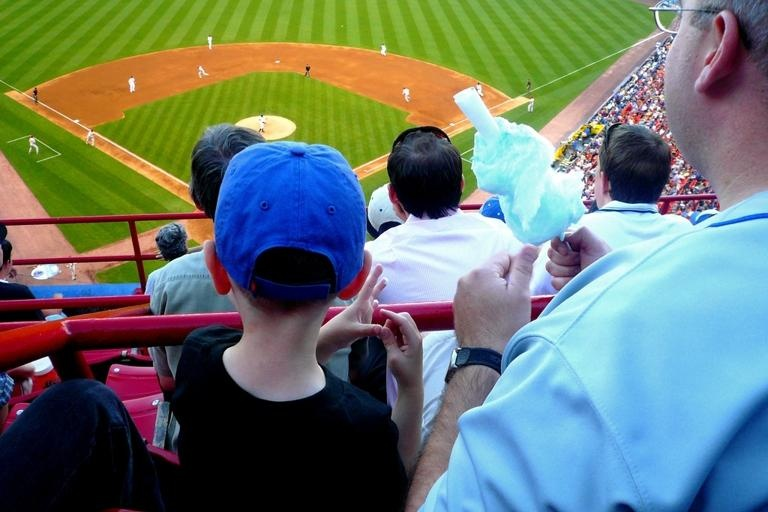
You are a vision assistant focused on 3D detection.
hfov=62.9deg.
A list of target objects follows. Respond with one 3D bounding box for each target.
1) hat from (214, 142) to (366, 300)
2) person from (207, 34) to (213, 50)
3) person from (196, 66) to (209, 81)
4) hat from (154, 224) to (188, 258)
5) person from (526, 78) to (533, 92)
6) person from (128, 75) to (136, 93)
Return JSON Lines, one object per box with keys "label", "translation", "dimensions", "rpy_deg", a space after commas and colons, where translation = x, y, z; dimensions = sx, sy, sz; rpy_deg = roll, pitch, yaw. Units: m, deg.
{"label": "hat", "translation": [-0.299, -0.221, 2.139], "dimensions": [0.502, 0.421, 0.753], "rpy_deg": [2, 24, -8]}
{"label": "person", "translation": [-5.845, -7.196, 21.027], "dimensions": [0.182, 0.453, 0.979], "rpy_deg": [-4, 19, -14]}
{"label": "person", "translation": [-5.594, -5.674, 19.310], "dimensions": [0.222, 0.355, 0.720], "rpy_deg": [-2, 29, -13]}
{"label": "hat", "translation": [-1.691, -0.119, 5.106], "dimensions": [0.220, 0.282, 0.302], "rpy_deg": [-1, -5, 30]}
{"label": "person", "translation": [4.416, -5.245, 19.173], "dimensions": [0.280, 0.371, 0.739], "rpy_deg": [-2, 13, 15]}
{"label": "person", "translation": [-7.444, -5.088, 18.530], "dimensions": [0.214, 0.382, 0.858], "rpy_deg": [-6, 19, -18]}
